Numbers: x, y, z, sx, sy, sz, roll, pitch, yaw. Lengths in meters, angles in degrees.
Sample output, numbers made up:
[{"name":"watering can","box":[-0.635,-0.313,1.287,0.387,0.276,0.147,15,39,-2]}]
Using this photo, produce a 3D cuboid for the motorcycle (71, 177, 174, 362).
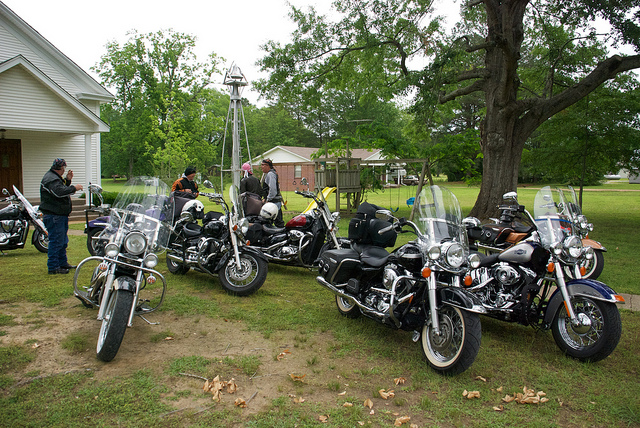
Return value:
[{"name":"motorcycle","box":[-3.370,0.530,7.082,0.988,1.671,2.547,-19,37,-28]}]

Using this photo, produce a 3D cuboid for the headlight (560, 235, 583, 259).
[{"name":"headlight","box":[3.874,0.509,6.748,0.314,0.338,0.139,4,-9,-31]}]

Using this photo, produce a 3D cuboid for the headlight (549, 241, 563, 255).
[{"name":"headlight","box":[3.656,0.524,6.763,0.179,0.194,0.109,-10,4,-18]}]

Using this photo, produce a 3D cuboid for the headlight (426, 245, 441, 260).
[{"name":"headlight","box":[1.631,0.544,6.297,0.204,0.214,0.097,4,4,14]}]

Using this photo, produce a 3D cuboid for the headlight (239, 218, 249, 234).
[{"name":"headlight","box":[-1.475,0.232,8.408,0.135,0.310,0.246,3,3,-3]}]

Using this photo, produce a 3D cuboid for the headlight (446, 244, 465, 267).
[{"name":"headlight","box":[1.930,0.581,6.276,0.218,0.232,0.218,47,-14,-15]}]

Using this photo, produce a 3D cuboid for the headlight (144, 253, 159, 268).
[{"name":"headlight","box":[-2.557,0.696,6.611,0.183,0.229,0.218,2,3,-11]}]

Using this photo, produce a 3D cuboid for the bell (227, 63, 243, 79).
[{"name":"bell","box":[-2.510,-4.259,12.926,0.423,0.493,0.309,6,1,-13]}]

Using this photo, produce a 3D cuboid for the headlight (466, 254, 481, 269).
[{"name":"headlight","box":[2.248,0.684,6.440,0.165,0.232,0.105,14,13,-9]}]

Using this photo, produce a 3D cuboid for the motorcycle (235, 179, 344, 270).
[{"name":"motorcycle","box":[-0.574,0.311,9.796,3.079,1.750,1.275,2,-5,27]}]

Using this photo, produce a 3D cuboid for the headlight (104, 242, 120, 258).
[{"name":"headlight","box":[-3.045,0.519,6.364,0.189,0.196,0.114,4,3,-9]}]

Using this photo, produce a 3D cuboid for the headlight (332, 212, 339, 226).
[{"name":"headlight","box":[0.325,0.064,9.180,0.152,0.207,0.210,4,8,5]}]
